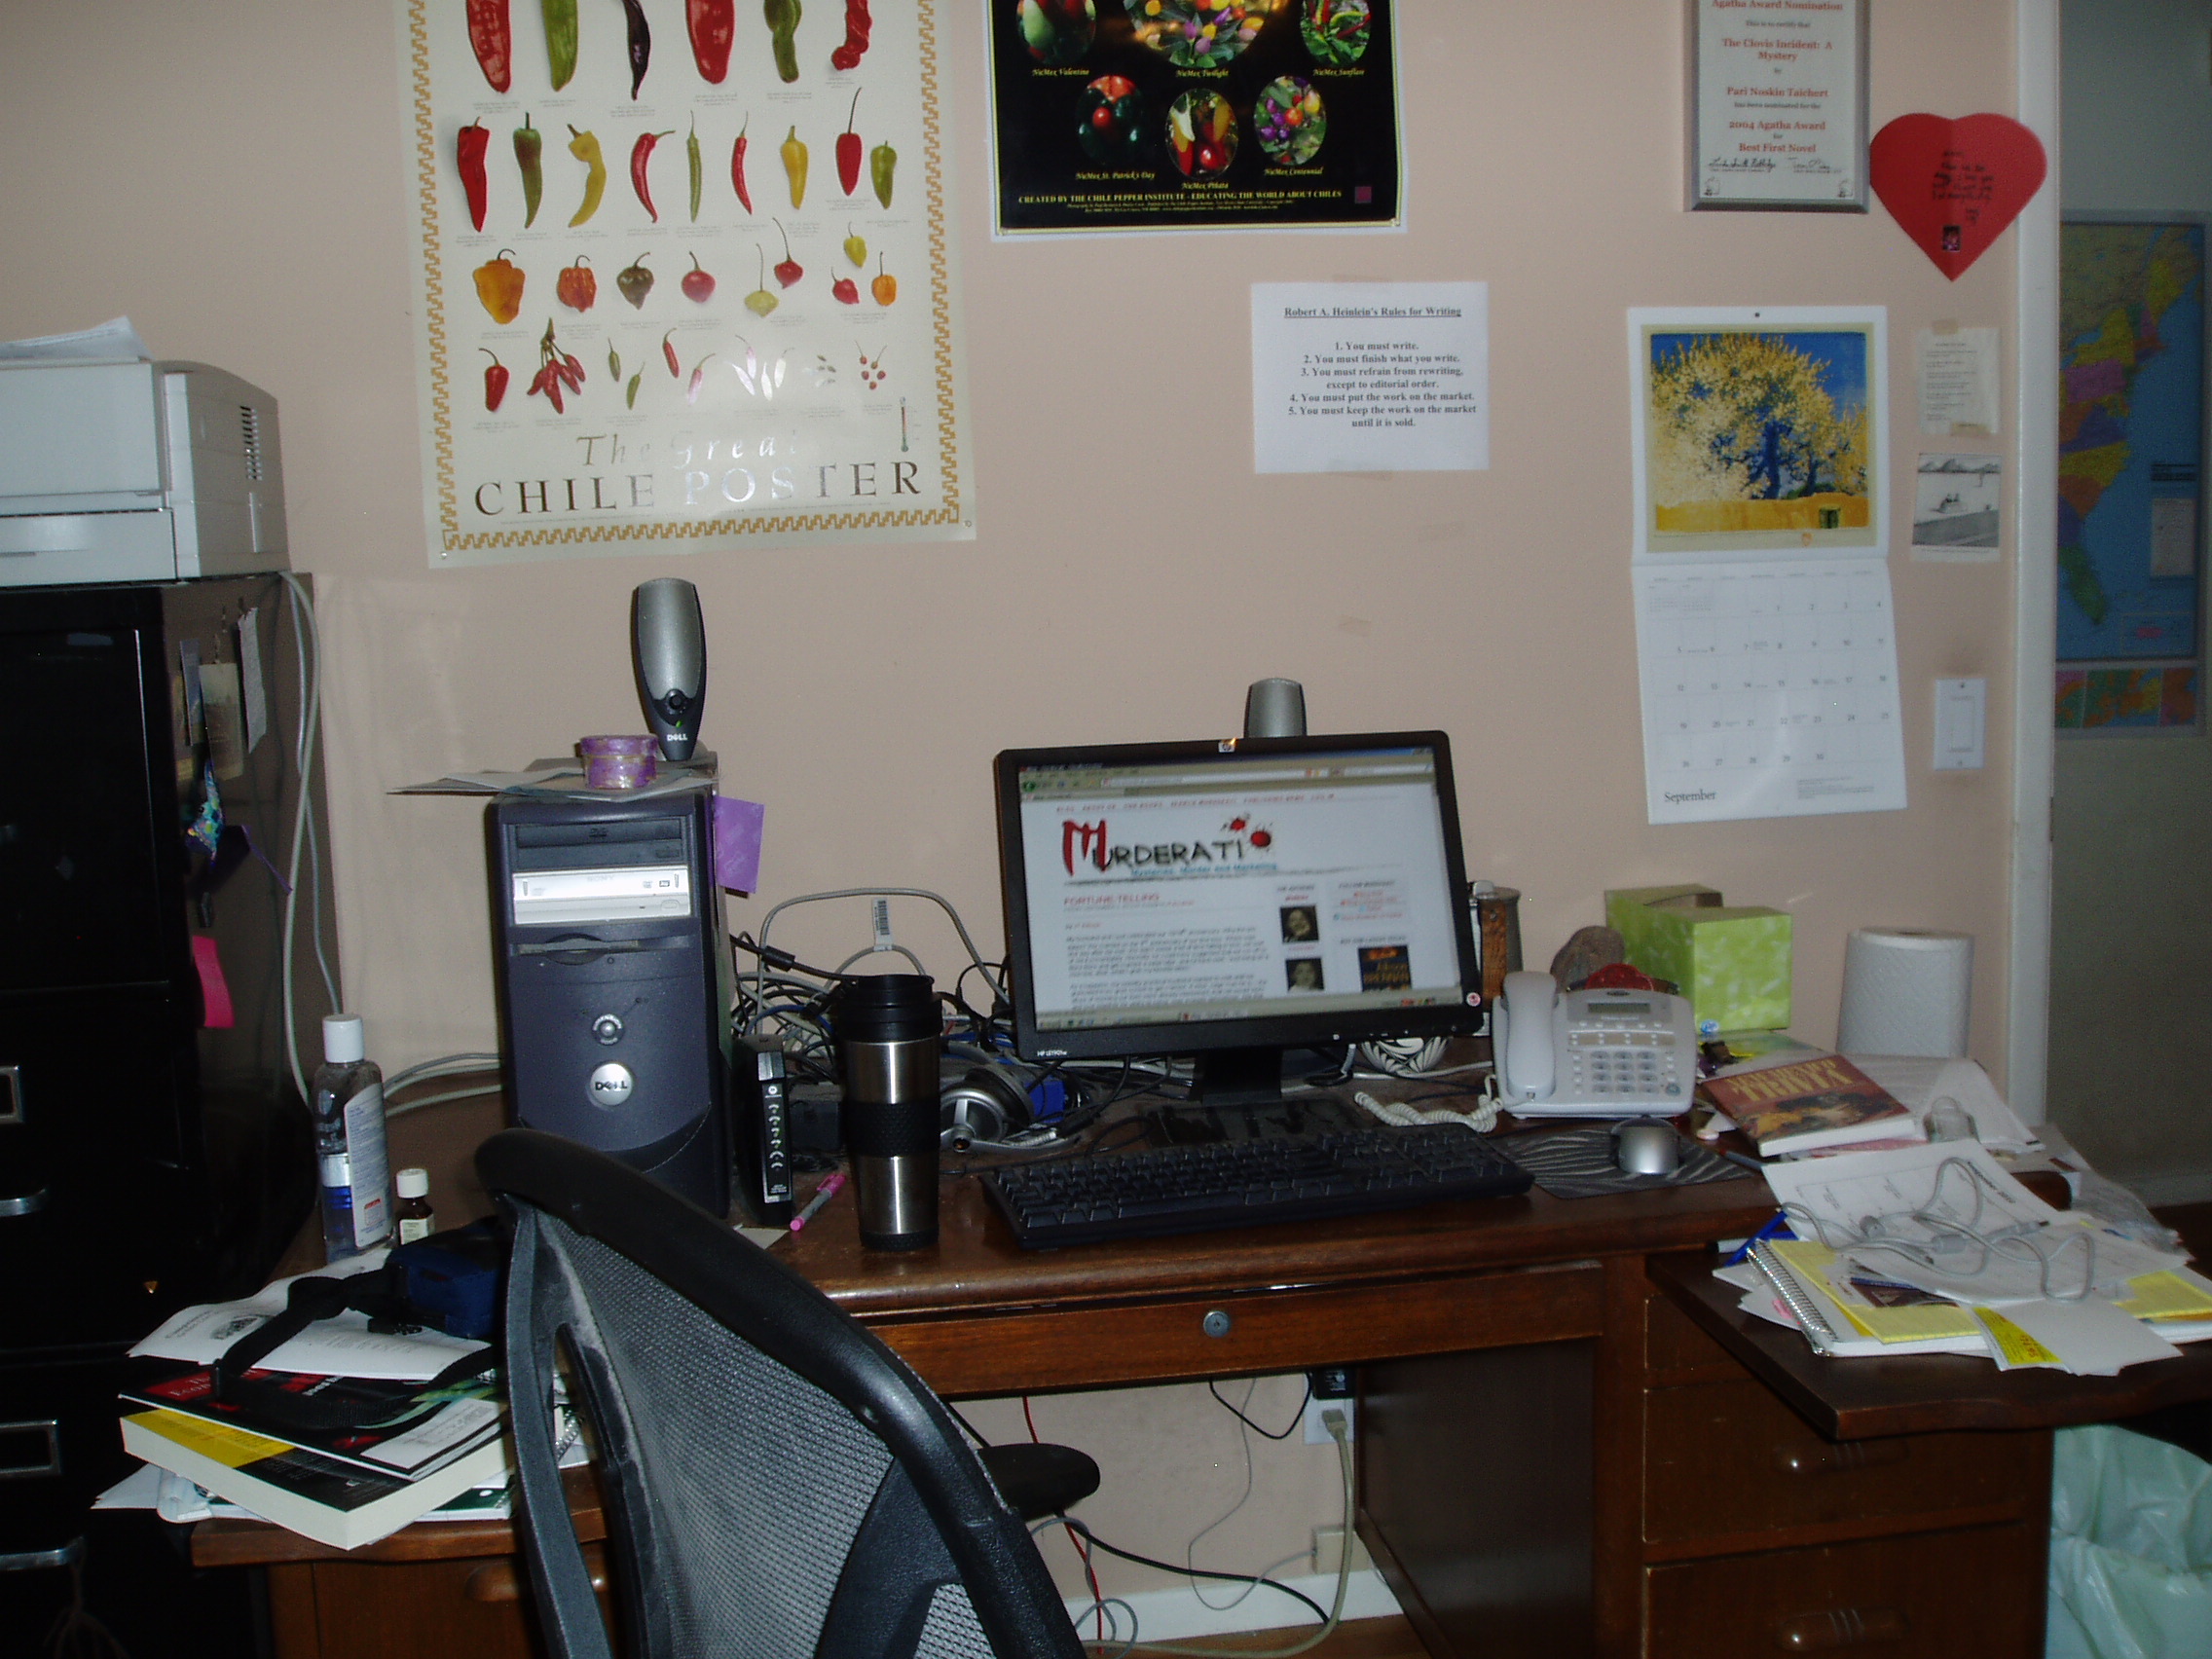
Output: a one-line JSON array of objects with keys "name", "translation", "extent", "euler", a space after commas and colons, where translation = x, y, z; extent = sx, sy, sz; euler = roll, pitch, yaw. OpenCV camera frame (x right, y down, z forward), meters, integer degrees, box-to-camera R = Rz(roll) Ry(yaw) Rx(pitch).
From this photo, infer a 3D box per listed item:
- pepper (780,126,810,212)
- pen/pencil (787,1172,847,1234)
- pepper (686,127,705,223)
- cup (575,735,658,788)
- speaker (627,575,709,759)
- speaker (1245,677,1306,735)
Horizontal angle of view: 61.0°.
[{"name": "pepper", "translation": [-0.425, -0.906, 2.568], "extent": [0.029, 0.096, 0.031], "euler": [-2, 4, 7]}, {"name": "pen/pencil", "translation": [-0.326, 0.417, 2.126], "extent": [0.018, 0.018, 0.109], "euler": [-7, 20, 21]}, {"name": "pepper", "translation": [-0.562, -0.894, 2.554], "extent": [0.015, 0.105, 0.012], "euler": [-2, 12, -3]}, {"name": "cup", "translation": [-0.576, -0.084, 2.175], "extent": [0.065, 0.045, 0.068], "euler": [1, 5, 0]}, {"name": "speaker", "translation": [-0.581, -0.221, 2.511], "extent": [0.104, 0.242, 0.203], "euler": [-6, 6, -14]}, {"name": "speaker", "translation": [0.227, -0.164, 2.593], "extent": [0.073, 0.076, 0.073], "euler": [4, -5, -35]}]
